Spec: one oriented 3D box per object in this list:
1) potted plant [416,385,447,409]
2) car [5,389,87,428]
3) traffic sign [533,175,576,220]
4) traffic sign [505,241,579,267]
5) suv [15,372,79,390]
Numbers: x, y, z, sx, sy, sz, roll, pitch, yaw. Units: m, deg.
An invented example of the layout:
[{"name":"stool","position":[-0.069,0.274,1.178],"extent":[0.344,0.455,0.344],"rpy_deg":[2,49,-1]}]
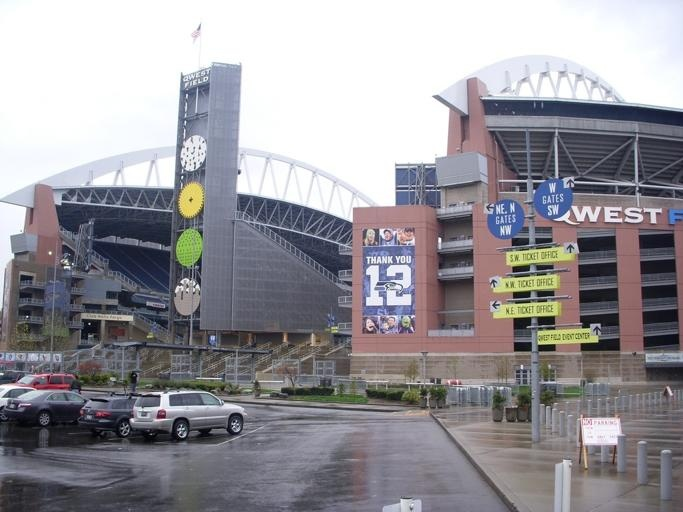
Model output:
[{"name":"potted plant","position":[6.239,9.714,54.867],"extent":[1.471,1.548,1.976],"rpy_deg":[4,-14,-18]},{"name":"car","position":[-15.236,7.743,41.323],"extent":[4.244,1.422,1.926],"rpy_deg":[3,-5,-41]},{"name":"traffic sign","position":[9.265,-2.486,35.341],"extent":[1.598,1.829,1.227],"rpy_deg":[-4,-14,14]},{"name":"traffic sign","position":[8.767,-0.170,35.432],"extent":[2.864,1.108,1.495],"rpy_deg":[5,-10,-14]},{"name":"suv","position":[-17.964,7.779,49.536],"extent":[3.159,1.390,1.742],"rpy_deg":[8,-10,-27]}]
